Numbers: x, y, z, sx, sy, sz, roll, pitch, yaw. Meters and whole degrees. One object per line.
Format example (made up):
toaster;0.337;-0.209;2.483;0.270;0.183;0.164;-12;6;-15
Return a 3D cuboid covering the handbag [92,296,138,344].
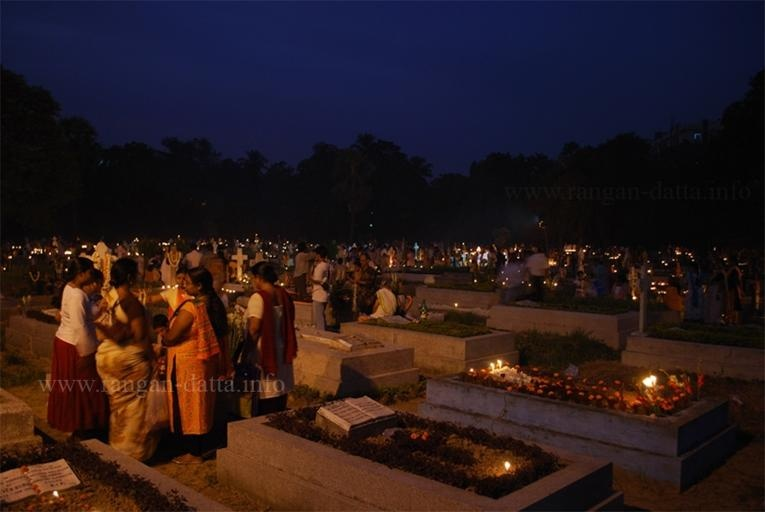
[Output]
handbag;-4.194;1.022;8.505;0.596;0.582;0.341;19;-4;19
